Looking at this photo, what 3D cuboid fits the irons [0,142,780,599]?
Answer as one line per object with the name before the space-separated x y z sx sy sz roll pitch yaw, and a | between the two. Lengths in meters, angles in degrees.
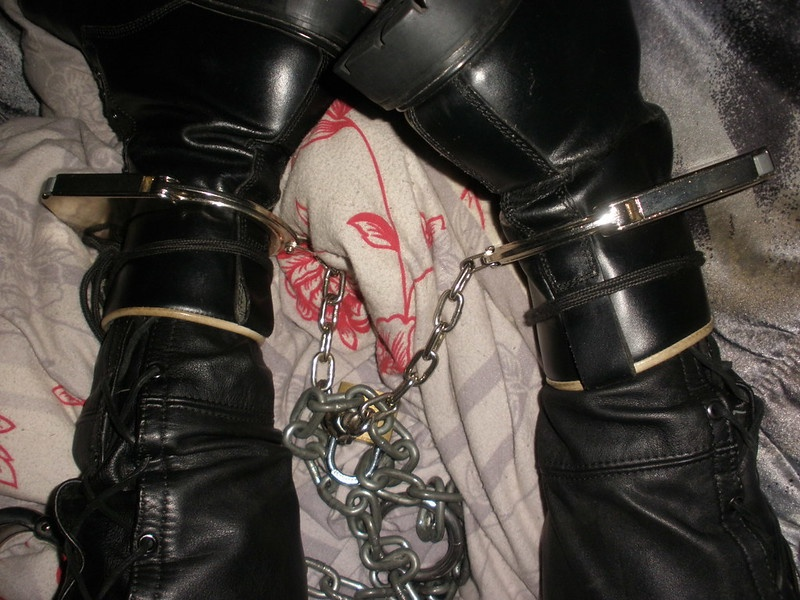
irons | -0.018 0.121 1.273 0.843 0.838 0.042 6 22 21
